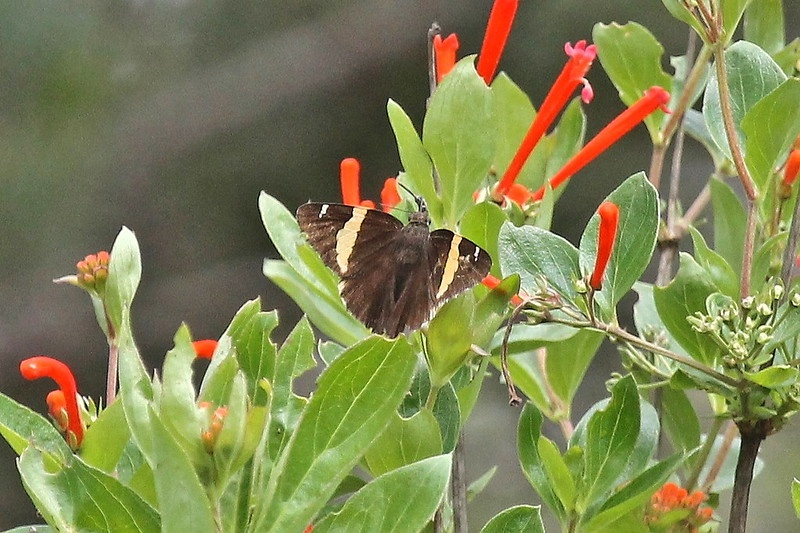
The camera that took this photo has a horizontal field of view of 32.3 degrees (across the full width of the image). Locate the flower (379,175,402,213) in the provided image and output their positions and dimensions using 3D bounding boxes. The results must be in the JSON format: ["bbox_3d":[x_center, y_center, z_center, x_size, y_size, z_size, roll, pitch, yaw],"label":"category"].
[{"bbox_3d":[-0.017,-0.099,1.834,0.016,0.016,0.063,-4,-32,-4],"label":"flower"}]

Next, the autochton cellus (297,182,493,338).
[{"bbox_3d":[-0.003,-0.005,1.699,0.232,0.173,0.127,14,-3,12],"label":"autochton cellus"}]

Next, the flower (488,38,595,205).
[{"bbox_3d":[0.152,-0.167,1.782,0.275,0.076,0.086,-64,0,15],"label":"flower"}]

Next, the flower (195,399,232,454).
[{"bbox_3d":[-0.213,0.181,1.554,0.063,0.027,0.046,-86,19,-61],"label":"flower"}]

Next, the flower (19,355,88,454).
[{"bbox_3d":[-0.417,0.165,1.660,0.064,0.135,0.023,-5,30,-11],"label":"flower"}]

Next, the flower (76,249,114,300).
[{"bbox_3d":[-0.383,-0.001,1.740,0.051,0.037,0.055,2,-43,-19],"label":"flower"}]
